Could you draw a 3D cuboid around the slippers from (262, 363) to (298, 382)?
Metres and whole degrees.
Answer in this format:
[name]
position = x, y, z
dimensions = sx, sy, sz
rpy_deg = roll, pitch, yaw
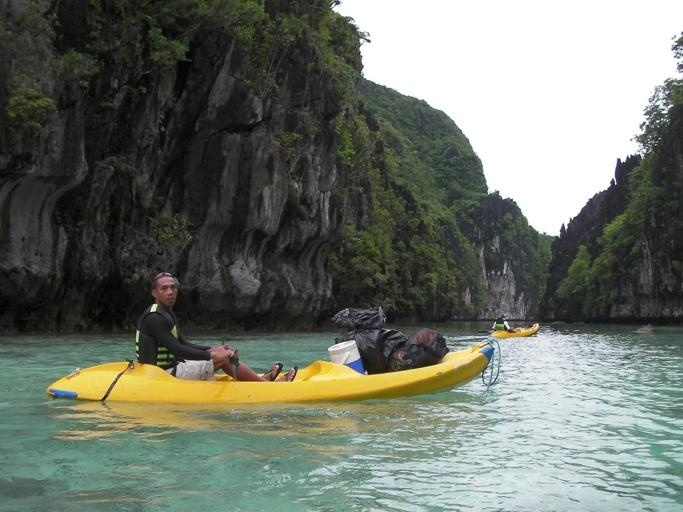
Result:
[slippers]
position = -0.961, 1.944, 11.544
dimensions = 0.667, 0.230, 0.245
rpy_deg = 13, -57, -39

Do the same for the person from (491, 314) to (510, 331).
[person]
position = 7.056, 2.900, 30.778
dimensions = 0.692, 0.781, 1.958
rpy_deg = 3, 4, 13
